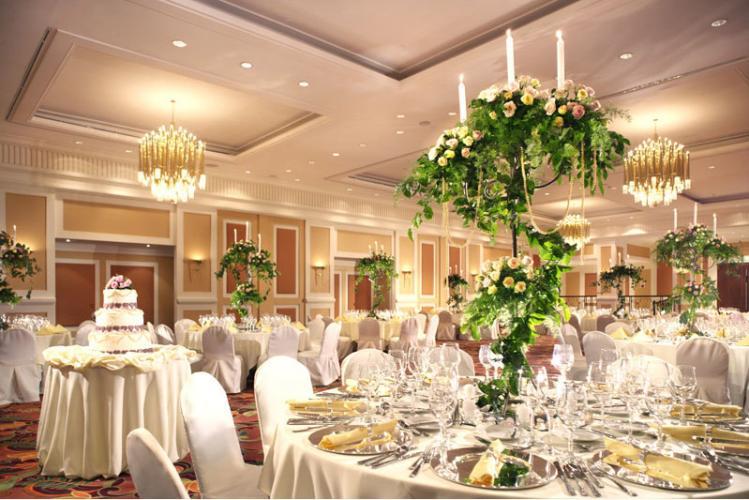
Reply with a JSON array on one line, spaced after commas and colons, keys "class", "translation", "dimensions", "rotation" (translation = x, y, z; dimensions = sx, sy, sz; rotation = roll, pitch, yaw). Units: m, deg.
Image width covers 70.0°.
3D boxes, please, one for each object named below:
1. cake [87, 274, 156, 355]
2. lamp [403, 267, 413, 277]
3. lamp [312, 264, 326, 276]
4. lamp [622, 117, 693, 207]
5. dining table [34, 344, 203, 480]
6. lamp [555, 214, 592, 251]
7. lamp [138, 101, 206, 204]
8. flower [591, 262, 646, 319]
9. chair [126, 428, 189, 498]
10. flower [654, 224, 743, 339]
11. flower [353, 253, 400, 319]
[{"class": "cake", "translation": [-2.867, 0.726, 6.040], "dimensions": [0.750, 0.942, 0.737], "rotation": [-1, -4, 19]}, {"class": "lamp", "translation": [0.971, 0.625, 15.581], "dimensions": [0.286, 0.148, 0.261], "rotation": [5, -25, -34]}, {"class": "lamp", "translation": [-1.404, 0.522, 13.697], "dimensions": [0.324, 0.243, 0.273], "rotation": [5, -9, -41]}, {"class": "lamp", "translation": [4.922, -1.463, 9.246], "dimensions": [0.849, 1.068, 0.841], "rotation": [-13, 10, 3]}, {"class": "dining table", "translation": [-2.899, 1.646, 6.028], "dimensions": [1.924, 1.076, 1.904], "rotation": [-3, 9, -39]}, {"class": "lamp", "translation": [5.007, -0.393, 13.782], "dimensions": [0.805, 0.915, 0.804], "rotation": [-2, 1, -30]}, {"class": "lamp", "translation": [-3.277, -1.681, 8.783], "dimensions": [0.941, 1.803, 0.966], "rotation": [-5, -5, 35]}, {"class": "flower", "translation": [5.892, 0.971, 12.872], "dimensions": [1.062, 1.253, 0.880], "rotation": [4, 33, 23]}, {"class": "chair", "translation": [-1.427, 1.385, 3.463], "dimensions": [0.463, 0.423, 0.186], "rotation": [8, 16, 37]}, {"class": "flower", "translation": [4.612, 0.383, 7.707], "dimensions": [0.957, 1.604, 1.966], "rotation": [9, 16, 39]}, {"class": "flower", "translation": [0.089, 0.620, 11.173], "dimensions": [0.657, 1.046, 0.678], "rotation": [1, 6, -37]}]
